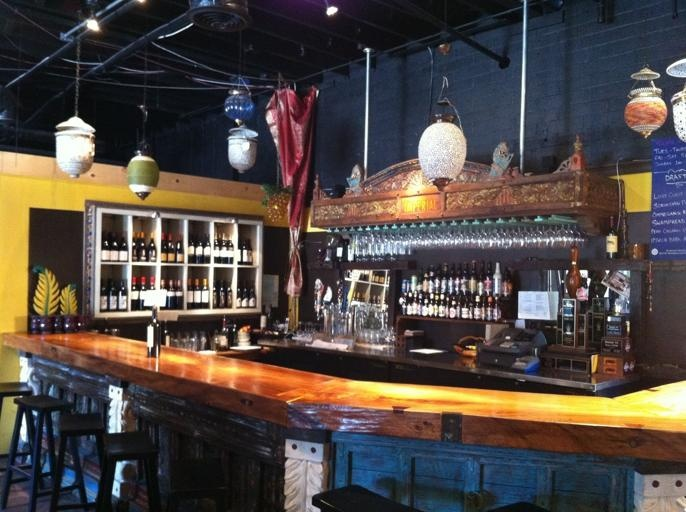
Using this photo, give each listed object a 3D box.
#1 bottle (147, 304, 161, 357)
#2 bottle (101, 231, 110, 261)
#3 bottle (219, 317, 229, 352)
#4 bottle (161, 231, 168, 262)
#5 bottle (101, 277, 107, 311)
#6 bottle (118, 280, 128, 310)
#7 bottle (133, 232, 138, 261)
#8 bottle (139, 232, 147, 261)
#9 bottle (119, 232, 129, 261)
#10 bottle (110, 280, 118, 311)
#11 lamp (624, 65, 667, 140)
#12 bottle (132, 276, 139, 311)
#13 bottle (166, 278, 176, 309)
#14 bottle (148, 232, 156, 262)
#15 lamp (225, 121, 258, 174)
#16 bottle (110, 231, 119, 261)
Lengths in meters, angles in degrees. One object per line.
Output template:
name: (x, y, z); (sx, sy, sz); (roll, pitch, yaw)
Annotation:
bottle: (-1.688, 0.663, 6.565); (0.107, 0.446, 0.342); (1, 3, -16)
bottle: (-2.704, -0.125, 8.381); (0.101, 0.324, 0.375); (1, 3, -18)
bottle: (-1.479, 0.940, 9.198); (0.103, 0.382, 0.536); (1, 3, -9)
bottle: (-2.131, -0.110, 8.775); (0.074, 0.326, 0.188); (1, 3, -15)
bottle: (-2.718, 0.441, 8.341); (0.068, 0.341, 0.302); (1, 3, -18)
bottle: (-2.538, 0.456, 8.471); (0.090, 0.321, 0.247); (1, 3, -16)
bottle: (-2.418, -0.115, 8.571); (0.070, 0.316, 0.193); (1, 3, -17)
bottle: (-2.353, -0.113, 8.666); (0.081, 0.320, 0.366); (1, 3, -15)
bottle: (-2.515, -0.102, 8.423); (0.096, 0.297, 0.301); (1, 3, -18)
bottle: (-2.630, 0.458, 8.422); (0.097, 0.304, 0.295); (1, 3, -18)
lamp: (2.626, -1.338, 6.369); (0.396, 0.606, 0.395); (0, 3, -28)
bottle: (-2.412, 0.426, 8.543); (0.081, 0.383, 0.209); (1, 3, -13)
bottle: (-2.070, 0.461, 8.900); (0.124, 0.330, 0.264); (1, 3, -11)
bottle: (-2.236, -0.104, 8.653); (0.086, 0.310, 0.223); (1, 3, -16)
lamp: (-1.183, -1.306, 8.667); (0.318, 0.542, 0.399); (2, 3, -10)
bottle: (-2.608, -0.111, 8.388); (0.091, 0.312, 0.330); (1, 3, -17)
